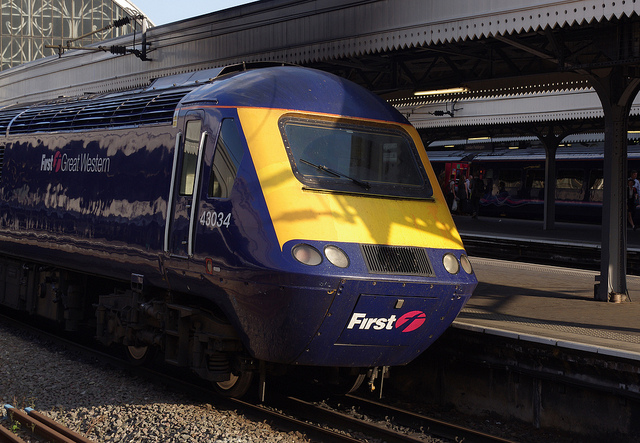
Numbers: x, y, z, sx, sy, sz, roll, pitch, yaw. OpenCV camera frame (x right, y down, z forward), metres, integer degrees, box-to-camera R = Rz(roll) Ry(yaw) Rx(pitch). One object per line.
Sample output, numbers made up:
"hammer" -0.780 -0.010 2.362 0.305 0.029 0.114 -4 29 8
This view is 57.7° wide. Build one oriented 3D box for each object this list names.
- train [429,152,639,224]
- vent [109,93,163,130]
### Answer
"train" 10.240 -2.157 30.376 10.970 3.309 3.100 10 6 44
"vent" -2.910 -1.688 8.993 0.890 0.550 0.355 4 2 43
